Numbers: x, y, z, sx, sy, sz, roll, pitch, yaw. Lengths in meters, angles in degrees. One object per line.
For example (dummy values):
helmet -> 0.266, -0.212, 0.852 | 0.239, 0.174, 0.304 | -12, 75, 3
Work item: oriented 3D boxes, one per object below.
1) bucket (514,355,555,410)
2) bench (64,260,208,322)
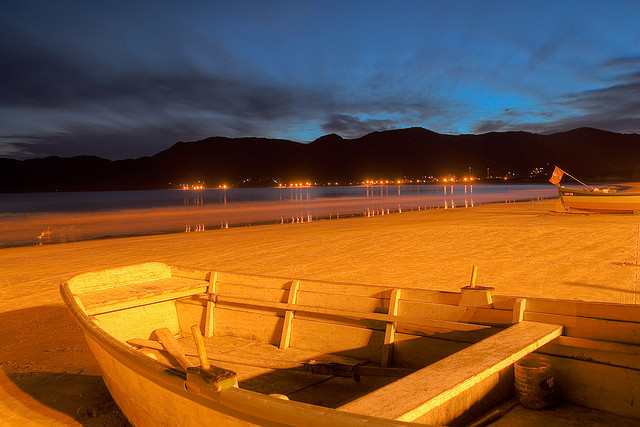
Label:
bucket -> 2.175, 1.695, 3.285 | 0.303, 0.454, 0.430 | 1, 9, 41
bench -> -3.609, 1.634, 6.270 | 2.279, 0.323, 1.882 | 8, -24, -14
